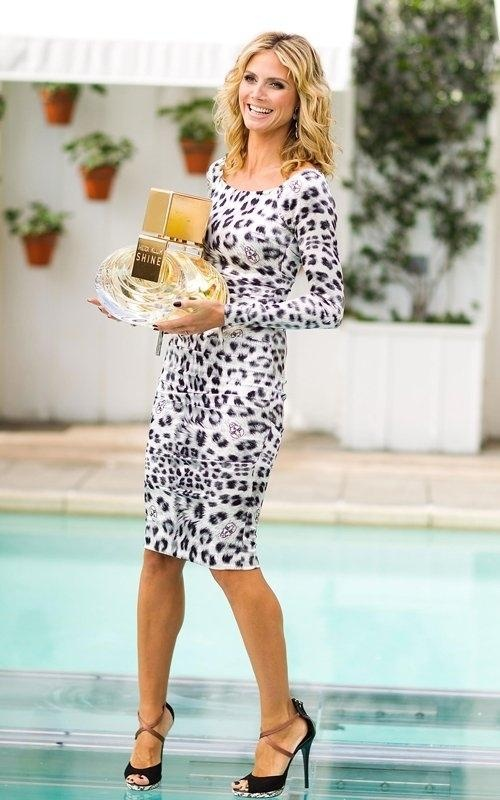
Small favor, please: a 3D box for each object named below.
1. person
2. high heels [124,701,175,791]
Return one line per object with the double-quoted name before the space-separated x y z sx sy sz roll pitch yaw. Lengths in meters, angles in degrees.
"person" -0.042 0.059 1.587 0.386 1.442 0.340 0 8 -9
"high heels" -0.198 0.649 1.636 0.066 0.179 0.079 6 -2 26
